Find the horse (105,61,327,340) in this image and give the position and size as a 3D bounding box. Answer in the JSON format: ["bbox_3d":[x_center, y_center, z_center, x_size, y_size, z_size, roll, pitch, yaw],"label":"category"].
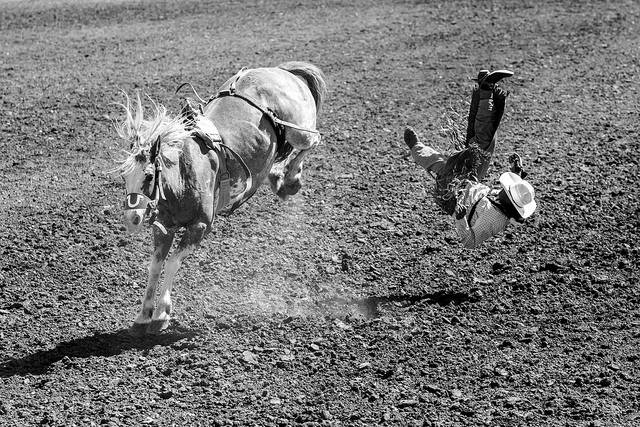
[{"bbox_3d":[-1.132,-0.315,12.730,0.864,2.498,3.538,16,38,35],"label":"horse"}]

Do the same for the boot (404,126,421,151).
[{"bbox_3d":[1.145,-0.942,13.284,0.124,0.145,0.320,-21,42,17],"label":"boot"}]

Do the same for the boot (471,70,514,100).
[{"bbox_3d":[2.038,-1.490,12.453,0.632,0.285,0.195,-14,59,-4],"label":"boot"}]

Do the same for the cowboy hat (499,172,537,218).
[{"bbox_3d":[2.327,-0.230,12.448,0.195,0.500,0.420,-31,26,29],"label":"cowboy hat"}]

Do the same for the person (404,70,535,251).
[{"bbox_3d":[1.845,-0.483,12.741,1.056,2.395,1.287,-14,31,-7],"label":"person"}]
